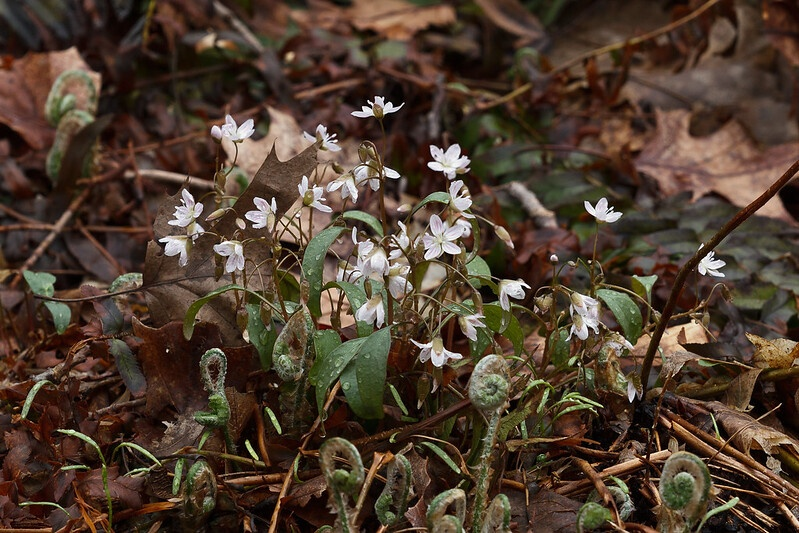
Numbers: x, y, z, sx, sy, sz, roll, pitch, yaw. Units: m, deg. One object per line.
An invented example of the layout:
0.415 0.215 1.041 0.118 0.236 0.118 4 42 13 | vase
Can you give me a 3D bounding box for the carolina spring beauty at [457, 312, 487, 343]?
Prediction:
0.267 0.207 2.819 0.089 0.100 0.046 -29 44 -30 | carolina spring beauty
